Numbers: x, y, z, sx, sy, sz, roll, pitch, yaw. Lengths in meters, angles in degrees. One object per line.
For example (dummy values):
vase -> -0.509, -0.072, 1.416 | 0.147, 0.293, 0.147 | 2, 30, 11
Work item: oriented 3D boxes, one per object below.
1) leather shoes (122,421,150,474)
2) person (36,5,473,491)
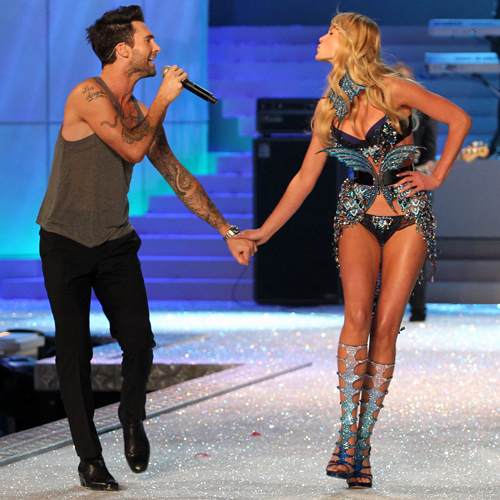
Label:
leather shoes -> -0.345, 0.590, 2.567 | 0.073, 0.170, 0.078 | -14, -29, -7
person -> -0.010, -0.032, 2.583 | 1.241, 1.444, 0.672 | -3, 11, -11
